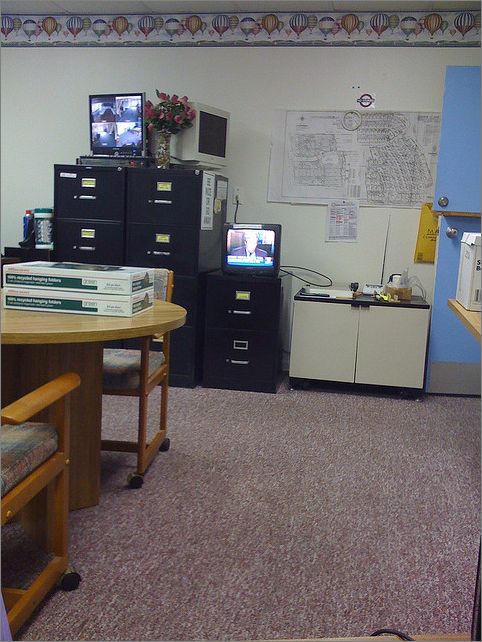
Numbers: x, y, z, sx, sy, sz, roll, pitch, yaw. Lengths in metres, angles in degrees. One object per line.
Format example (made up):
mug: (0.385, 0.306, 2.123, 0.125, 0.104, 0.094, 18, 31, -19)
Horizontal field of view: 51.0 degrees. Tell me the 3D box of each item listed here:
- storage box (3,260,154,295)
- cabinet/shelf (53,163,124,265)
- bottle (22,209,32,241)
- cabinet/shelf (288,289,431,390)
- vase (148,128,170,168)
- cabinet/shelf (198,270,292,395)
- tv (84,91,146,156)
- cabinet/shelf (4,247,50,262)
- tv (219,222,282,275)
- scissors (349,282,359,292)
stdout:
storage box: (-0.503, -0.134, 1.544, 0.432, 0.078, 0.217, 3, 7, 4)
cabinet/shelf: (-1.058, -0.734, 3.642, 0.513, 0.710, 0.450, 4, 8, 5)
bottle: (-1.586, -0.721, 3.783, 0.069, 0.229, 0.317, 0, 7, -21)
cabinet/shelf: (0.819, 0.103, 3.569, 0.866, 0.643, 0.476, 4, 17, 13)
vase: (-0.560, -1.206, 3.546, 0.139, 0.308, 0.390, 1, 7, -11)
cabinet/shelf: (0.035, 0.036, 3.629, 0.651, 0.764, 0.692, 8, 10, 31)
tv: (-0.855, -1.379, 3.520, 0.585, 0.593, 0.060, 2, 6, 18)
cabinet/shelf: (-1.584, -0.484, 3.643, 0.458, 0.106, 0.169, 6, 8, 27)
tv: (0.069, -0.465, 3.501, 0.399, 0.356, 0.252, 4, -18, -5)
scissors: (0.786, -0.237, 3.505, 0.057, 0.068, 0.074, 0, -2, 11)
